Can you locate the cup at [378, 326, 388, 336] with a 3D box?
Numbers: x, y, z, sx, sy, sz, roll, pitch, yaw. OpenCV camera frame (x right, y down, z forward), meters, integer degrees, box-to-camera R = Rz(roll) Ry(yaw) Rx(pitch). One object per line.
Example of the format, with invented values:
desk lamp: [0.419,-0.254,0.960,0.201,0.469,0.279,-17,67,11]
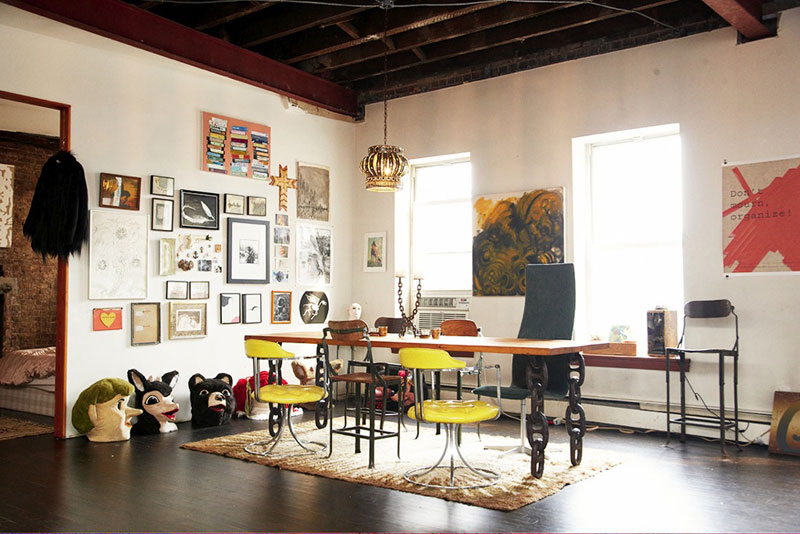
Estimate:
cup: [-0.241,0.755,6.659,0.150,0.112,0.122,-5,-8,27]

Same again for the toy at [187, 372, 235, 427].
toy: [-2.424,1.691,7.239,0.644,0.773,0.635,5,-13,-44]

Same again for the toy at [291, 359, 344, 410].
toy: [-1.262,1.689,8.531,0.802,0.767,0.738,4,-3,21]

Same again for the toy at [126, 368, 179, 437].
toy: [-3.044,1.709,7.238,0.739,0.842,0.820,-13,-14,36]

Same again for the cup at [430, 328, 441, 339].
cup: [0.387,0.742,6.301,0.191,0.131,0.148,-1,-4,7]

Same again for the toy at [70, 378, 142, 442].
toy: [-3.410,1.678,6.765,0.781,0.673,0.594,-3,0,-13]

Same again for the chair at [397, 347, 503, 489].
chair: [0.494,1.361,5.438,0.909,1.254,0.810,0,1,9]
